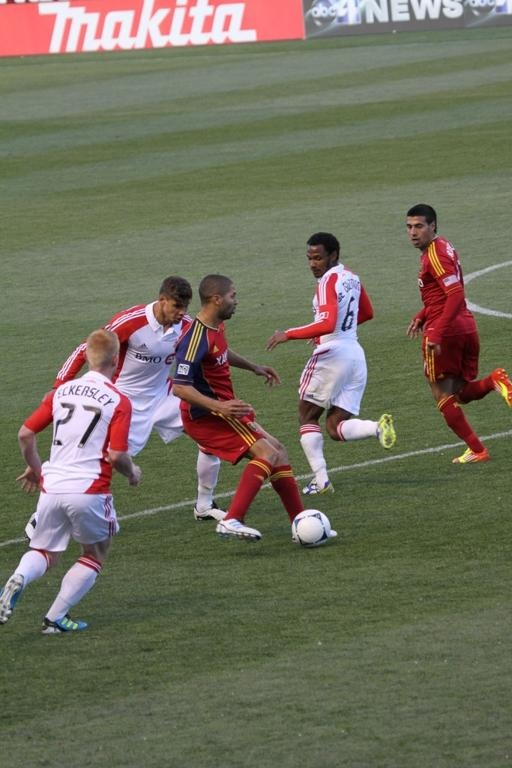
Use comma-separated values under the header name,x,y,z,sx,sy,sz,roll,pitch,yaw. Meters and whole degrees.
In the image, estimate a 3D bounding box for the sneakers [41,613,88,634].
name,x,y,z,sx,sy,sz,roll,pitch,yaw
sneakers,-0.826,1.049,4.810,0.227,0.073,0.073,0,14,-16

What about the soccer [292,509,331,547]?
name,x,y,z,sx,sy,sz,roll,pitch,yaw
soccer,0.267,0.739,5.577,0.193,0.195,0.164,-3,12,0

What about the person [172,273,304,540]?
name,x,y,z,sx,sy,sz,roll,pitch,yaw
person,-0.124,0.137,5.717,0.609,1.408,0.934,-5,12,-4

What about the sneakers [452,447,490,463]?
name,x,y,z,sx,sy,sz,roll,pitch,yaw
sneakers,1.304,0.447,6.802,0.273,0.089,0.082,-1,5,16

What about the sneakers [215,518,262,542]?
name,x,y,z,sx,sy,sz,roll,pitch,yaw
sneakers,-0.101,0.717,5.400,0.268,0.093,0.083,8,-13,5

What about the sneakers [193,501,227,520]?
name,x,y,z,sx,sy,sz,roll,pitch,yaw
sneakers,-0.264,0.723,6.170,0.257,0.092,0.076,-1,4,11

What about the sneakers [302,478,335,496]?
name,x,y,z,sx,sy,sz,roll,pitch,yaw
sneakers,0.343,0.615,6.489,0.231,0.088,0.076,-4,25,32
